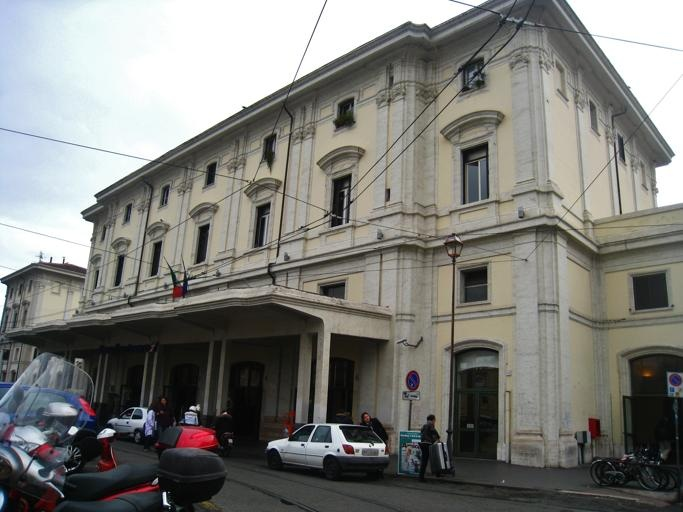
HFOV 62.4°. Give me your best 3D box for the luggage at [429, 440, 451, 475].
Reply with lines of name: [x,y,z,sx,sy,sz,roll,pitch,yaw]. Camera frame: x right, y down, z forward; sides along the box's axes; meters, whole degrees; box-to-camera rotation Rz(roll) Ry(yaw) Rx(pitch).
luggage: [2.871,5.905,16.518,0.453,0.939,0.805,-10,-23,33]

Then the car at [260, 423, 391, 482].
car: [-0.452,5.667,17.111,3.403,1.259,1.675,-12,-25,44]

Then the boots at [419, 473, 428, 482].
boots: [2.311,6.343,16.218,0.135,0.260,0.379,-4,-5,40]

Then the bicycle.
bicycle: [7.852,5.633,15.252,2.149,1.130,1.005,-9,-49,25]
